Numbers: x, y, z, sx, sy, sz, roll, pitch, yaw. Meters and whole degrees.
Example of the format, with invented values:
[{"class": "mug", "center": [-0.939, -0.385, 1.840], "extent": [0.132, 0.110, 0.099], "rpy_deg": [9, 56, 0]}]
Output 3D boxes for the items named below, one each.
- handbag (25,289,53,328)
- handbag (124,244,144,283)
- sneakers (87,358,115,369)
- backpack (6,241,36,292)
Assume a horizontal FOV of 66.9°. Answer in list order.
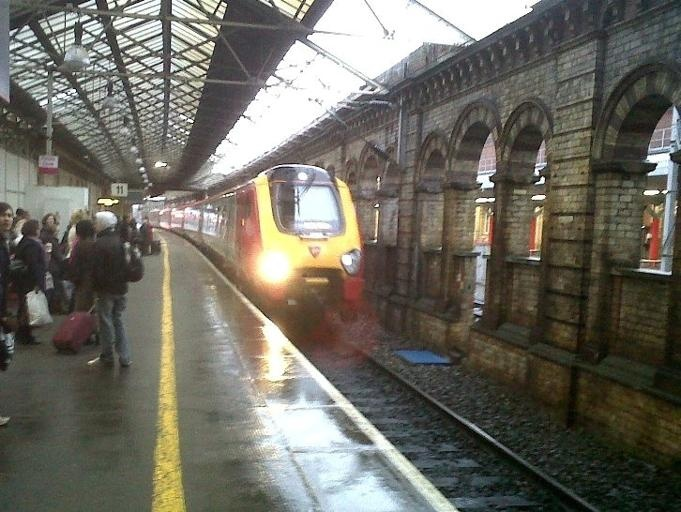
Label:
[{"class": "handbag", "center": [-4.797, 0.822, 8.216], "extent": [0.482, 0.597, 0.317], "rpy_deg": [-11, 32, -44]}, {"class": "handbag", "center": [-2.718, 0.097, 6.896], "extent": [0.105, 0.431, 0.419], "rpy_deg": [-9, 23, -18]}, {"class": "sneakers", "center": [-3.183, 1.432, 7.043], "extent": [0.403, 0.184, 0.142], "rpy_deg": [5, -4, 3]}, {"class": "backpack", "center": [-4.750, 0.199, 7.776], "extent": [0.296, 0.851, 0.579], "rpy_deg": [-4, 13, -38]}]
